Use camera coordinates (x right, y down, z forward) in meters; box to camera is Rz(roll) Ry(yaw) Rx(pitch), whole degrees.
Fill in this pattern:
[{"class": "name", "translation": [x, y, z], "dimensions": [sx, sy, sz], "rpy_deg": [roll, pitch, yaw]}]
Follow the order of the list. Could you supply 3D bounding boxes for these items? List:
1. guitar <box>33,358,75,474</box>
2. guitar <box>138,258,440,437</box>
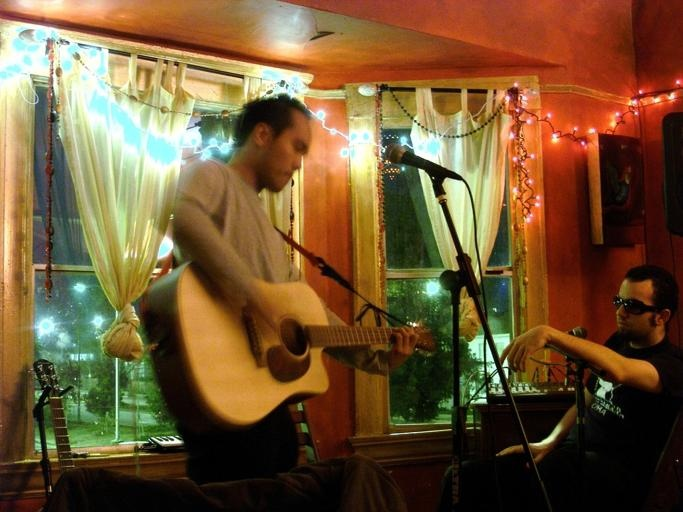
[{"class": "guitar", "translation": [-1.778, 1.005, 3.865], "dimensions": [0.149, 0.653, 0.283], "rpy_deg": [-6, -4, -32]}, {"class": "guitar", "translation": [-0.336, 0.336, 2.543], "dimensions": [0.861, 0.506, 0.302], "rpy_deg": [-1, -1, -36]}]
